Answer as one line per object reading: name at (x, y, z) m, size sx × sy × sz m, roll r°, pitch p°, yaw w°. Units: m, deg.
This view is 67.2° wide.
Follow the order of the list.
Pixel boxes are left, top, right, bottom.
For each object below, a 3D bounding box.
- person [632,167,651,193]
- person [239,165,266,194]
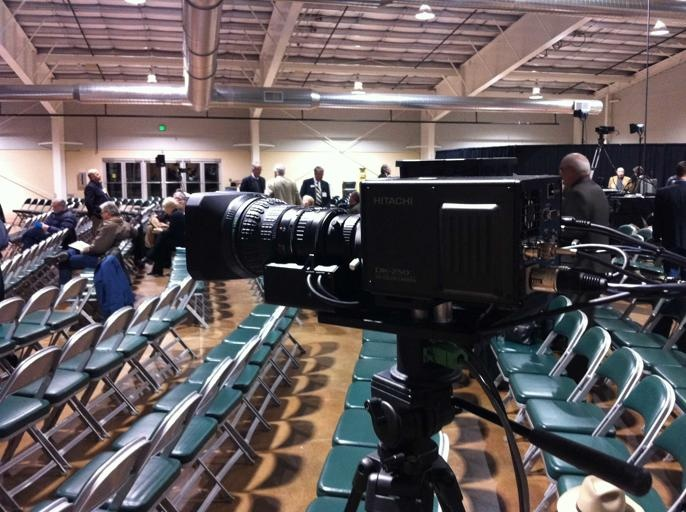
person at (5.140, -1.317, 8.924) m, size 0.273 × 0.467 × 2.059 m, roll 5°, pitch 12°, yaw 30°
person at (-1.646, -1.434, 9.487) m, size 0.401 × 0.504 × 0.710 m, roll -3°, pitch 10°, yaw -11°
